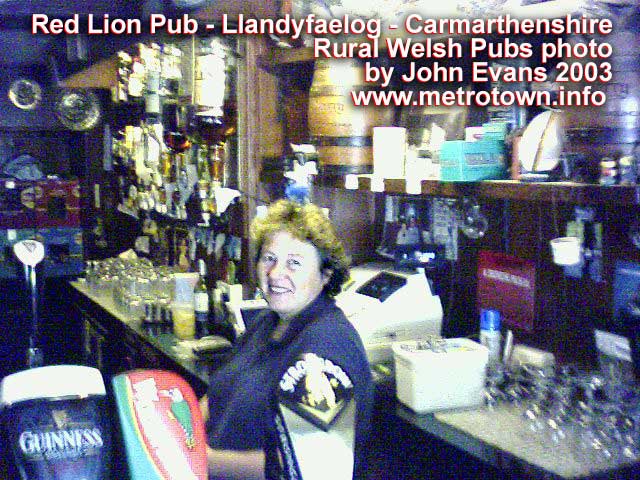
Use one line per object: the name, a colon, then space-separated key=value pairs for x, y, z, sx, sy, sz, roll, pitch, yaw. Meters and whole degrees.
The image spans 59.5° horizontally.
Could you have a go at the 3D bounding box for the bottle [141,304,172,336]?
bottle: x=-0.796 y=0.389 z=2.702 sx=0.151 sy=0.136 sz=0.088 roll=6 pitch=-15 yaw=-16

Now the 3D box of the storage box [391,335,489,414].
storage box: x=0.361 y=0.404 z=1.687 sx=0.262 sy=0.142 sz=0.189 roll=0 pitch=-2 yaw=-13
